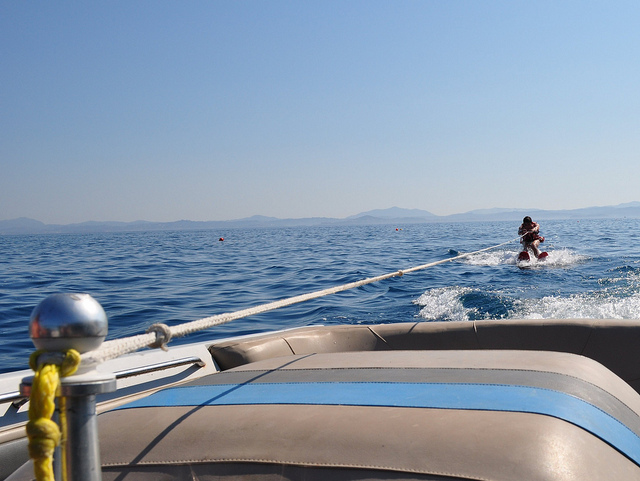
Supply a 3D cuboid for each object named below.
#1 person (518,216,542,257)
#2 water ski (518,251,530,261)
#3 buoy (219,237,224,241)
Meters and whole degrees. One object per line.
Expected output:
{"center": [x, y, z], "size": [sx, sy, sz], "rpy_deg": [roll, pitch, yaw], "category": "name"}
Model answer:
{"center": [8.354, -0.141, 16.935], "size": [0.732, 1.592, 1.215], "rpy_deg": [-4, -3, 23], "category": "person"}
{"center": [7.812, 0.615, 16.341], "size": [0.371, 0.358, 0.427], "rpy_deg": [-3, -3, 19], "category": "water ski"}
{"center": [-12.652, -0.103, 54.964], "size": [0.482, 0.280, 0.768], "rpy_deg": [-2, 7, 3], "category": "buoy"}
